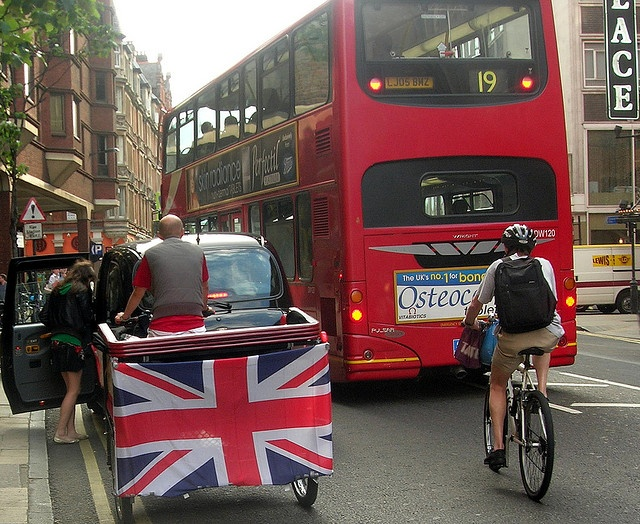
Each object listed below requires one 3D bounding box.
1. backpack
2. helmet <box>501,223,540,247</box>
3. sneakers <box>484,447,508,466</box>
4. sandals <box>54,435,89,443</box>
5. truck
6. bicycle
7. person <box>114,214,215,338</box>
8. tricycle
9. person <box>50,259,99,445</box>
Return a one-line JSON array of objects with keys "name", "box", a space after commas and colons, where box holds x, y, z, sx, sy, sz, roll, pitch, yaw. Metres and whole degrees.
[{"name": "backpack", "box": [1.640, 0.282, 5.735, 0.462, 0.673, 0.366, -6, -8, -1]}, {"name": "helmet", "box": [1.681, -0.230, 6.027, 0.181, 0.237, 0.243, 5, 15, 4]}, {"name": "sneakers", "box": [1.472, 1.651, 6.058, 0.098, 0.101, 0.210, 0, -2, -1]}, {"name": "sandals", "box": [-2.780, 1.986, 8.016, 0.377, 0.075, 0.129, -2, -1, -16]}, {"name": "truck", "box": [9.843, 0.535, 24.560, 2.121, 1.768, 1.562, -2, 2, -11]}, {"name": "bicycle", "box": [1.775, 1.257, 6.031, 0.627, 0.957, 1.530, -3, 3, -7]}, {"name": "person", "box": [-1.253, 0.373, 6.012, 0.727, 1.483, 0.729, -3, 5, -40]}, {"name": "tricycle", "box": [-0.692, 1.083, 5.133, 1.353, 1.110, 1.362, -2, 1, -17]}, {"name": "person", "box": [-2.792, 1.005, 8.035, 0.514, 1.426, 0.300, -1, -1, -21]}]
